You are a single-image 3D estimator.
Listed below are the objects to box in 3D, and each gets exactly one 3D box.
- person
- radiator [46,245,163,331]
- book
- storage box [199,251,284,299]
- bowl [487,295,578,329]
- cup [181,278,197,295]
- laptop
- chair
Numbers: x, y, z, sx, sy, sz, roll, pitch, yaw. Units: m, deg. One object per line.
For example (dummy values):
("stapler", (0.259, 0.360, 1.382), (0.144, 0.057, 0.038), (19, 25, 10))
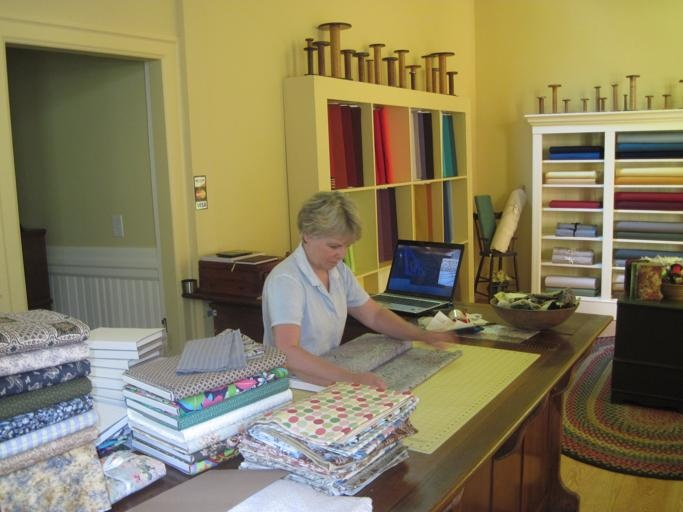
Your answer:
("person", (-0.073, 0.105, 2.639), (0.784, 0.819, 0.821), (5, 14, 37))
("radiator", (-1.880, 0.246, 4.301), (1.225, 0.638, 0.166), (2, 12, 28))
("book", (-0.488, 0.465, 1.747), (0.417, 0.202, 0.568), (8, 12, 39))
("storage box", (-0.896, 0.136, 4.024), (0.528, 0.249, 0.387), (7, 2, -44))
("bowl", (1.023, 0.295, 2.927), (0.418, 0.186, 0.279), (3, 13, 31))
("cup", (-1.105, 0.218, 3.977), (0.099, 0.102, 0.102), (0, 2, 0))
("laptop", (0.470, 0.115, 3.461), (0.472, 0.361, 0.490), (8, 9, 38))
("chair", (1.990, -0.078, 7.074), (0.556, 1.480, 1.135), (-1, 11, 16))
